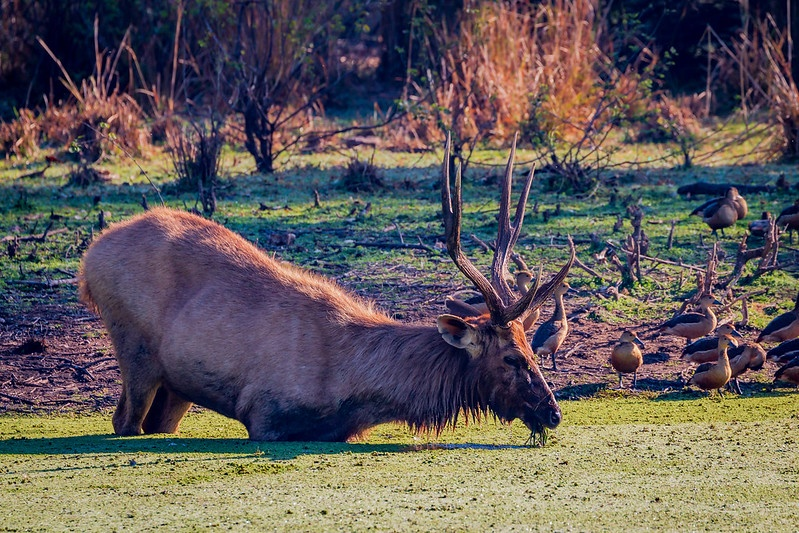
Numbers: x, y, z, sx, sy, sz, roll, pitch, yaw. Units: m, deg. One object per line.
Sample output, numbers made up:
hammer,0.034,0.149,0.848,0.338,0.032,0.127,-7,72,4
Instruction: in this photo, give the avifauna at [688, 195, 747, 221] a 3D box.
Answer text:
avifauna,4.881,-0.930,22.021,0.704,0.522,0.385,5,13,10

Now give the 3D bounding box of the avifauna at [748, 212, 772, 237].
avifauna,5.386,-0.637,21.560,0.277,0.277,0.394,12,22,39

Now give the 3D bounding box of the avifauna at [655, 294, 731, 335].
avifauna,3.929,0.675,19.514,0.784,0.603,0.411,-2,1,15

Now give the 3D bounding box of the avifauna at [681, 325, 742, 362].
avifauna,4.102,1.004,19.147,0.841,0.586,0.362,-3,5,5

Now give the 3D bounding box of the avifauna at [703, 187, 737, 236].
avifauna,4.763,-0.811,21.844,0.354,0.543,0.667,-1,-5,-39
